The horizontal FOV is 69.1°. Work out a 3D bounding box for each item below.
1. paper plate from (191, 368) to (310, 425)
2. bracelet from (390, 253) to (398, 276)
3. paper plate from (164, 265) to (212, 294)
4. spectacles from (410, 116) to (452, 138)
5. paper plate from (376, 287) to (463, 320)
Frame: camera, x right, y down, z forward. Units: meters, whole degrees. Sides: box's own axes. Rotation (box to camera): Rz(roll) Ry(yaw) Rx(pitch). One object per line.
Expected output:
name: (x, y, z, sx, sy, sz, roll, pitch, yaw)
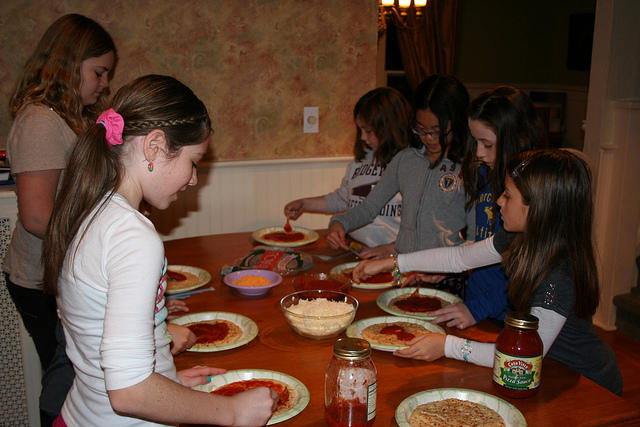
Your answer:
paper plate: (-0.221, 0.646, 1.695, 0.377, 0.090, 0.276, 5, 14, 33)
bracelet: (0.381, 0.264, 2.378, 0.031, 0.104, 0.081, 5, 2, -2)
paper plate: (-0.733, 0.332, 2.464, 0.251, 0.034, 0.253, 8, 15, -31)
spectacles: (0.607, -0.506, 2.776, 0.079, 0.108, 0.272, -7, 12, -16)
paper plate: (0.476, 0.417, 2.249, 0.407, 0.071, 0.399, 1, 2, -6)
